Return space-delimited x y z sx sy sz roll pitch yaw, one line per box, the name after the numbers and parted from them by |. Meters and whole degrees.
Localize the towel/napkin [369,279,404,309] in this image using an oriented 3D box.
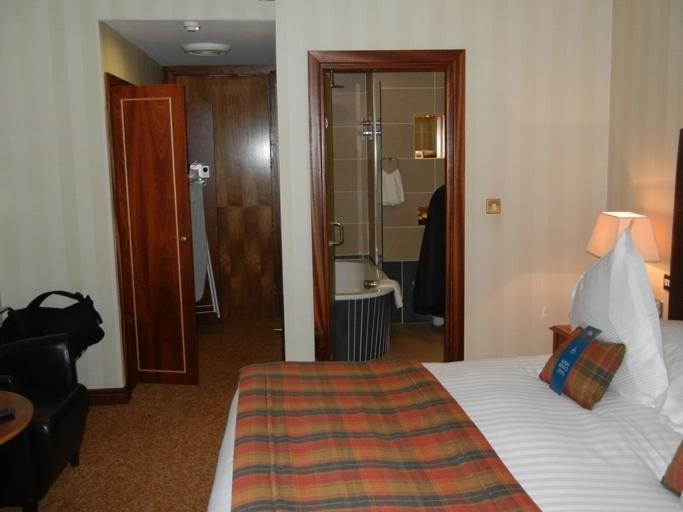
0.379 0.335 4.839 0.264 0.138 0.368 0 5 -1 | towel/napkin

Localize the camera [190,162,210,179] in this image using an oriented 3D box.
-1.424 -0.863 5.486 0.150 0.171 0.162 -5 1 0 | camera
